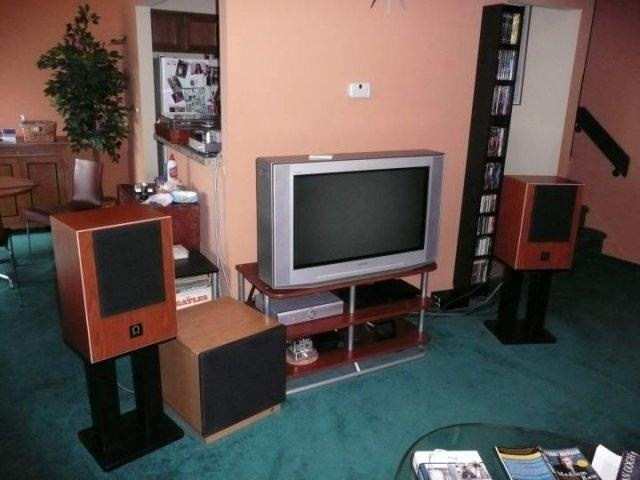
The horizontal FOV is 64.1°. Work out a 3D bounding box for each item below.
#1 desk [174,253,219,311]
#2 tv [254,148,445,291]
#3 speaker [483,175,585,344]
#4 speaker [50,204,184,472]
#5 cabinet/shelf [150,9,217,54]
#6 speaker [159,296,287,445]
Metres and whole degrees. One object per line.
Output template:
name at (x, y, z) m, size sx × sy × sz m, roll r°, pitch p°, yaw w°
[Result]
desk at (-0.860, 0.252, 3.533) m, size 0.369 × 0.357 × 0.298 m, roll -3°, pitch 31°, yaw -12°
tv at (0.164, -0.149, 3.310) m, size 0.895 × 0.581 × 0.312 m, roll -8°, pitch 20°, yaw -23°
speaker at (1.597, 0.138, 3.907) m, size 0.521 × 1.232 × 0.425 m, roll -1°, pitch 19°, yaw -6°
speaker at (-1.067, 0.511, 2.749) m, size 0.581 × 1.336 × 0.398 m, roll -10°, pitch 21°, yaw -29°
cabinet/shelf at (-1.343, -2.049, 5.018) m, size 0.619 × 0.402 × 0.248 m, roll -6°, pitch 20°, yaw -19°
speaker at (-0.554, 0.697, 3.123) m, size 0.706 × 0.663 × 0.723 m, roll -17°, pitch 37°, yaw -39°
